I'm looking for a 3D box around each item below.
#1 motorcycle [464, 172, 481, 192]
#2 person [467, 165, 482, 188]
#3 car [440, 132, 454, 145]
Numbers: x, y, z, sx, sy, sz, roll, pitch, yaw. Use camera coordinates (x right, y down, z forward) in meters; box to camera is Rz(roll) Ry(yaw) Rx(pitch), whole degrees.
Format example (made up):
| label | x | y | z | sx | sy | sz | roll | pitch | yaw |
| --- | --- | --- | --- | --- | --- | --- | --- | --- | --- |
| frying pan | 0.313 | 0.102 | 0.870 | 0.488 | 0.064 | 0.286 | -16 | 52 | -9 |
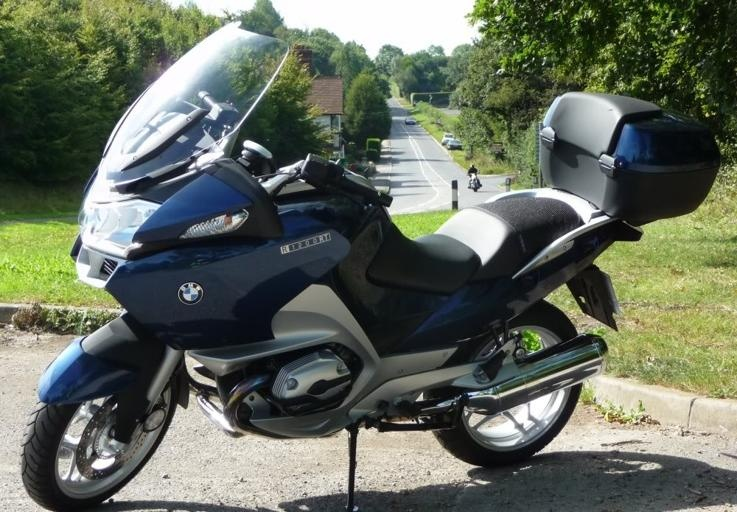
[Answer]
| label | x | y | z | sx | sy | sz | roll | pitch | yaw |
| --- | --- | --- | --- | --- | --- | --- | --- | --- | --- |
| motorcycle | 5.454 | -3.829 | 37.631 | 0.621 | 0.688 | 1.260 | -1 | 5 | 3 |
| person | 5.423 | -4.148 | 37.850 | 0.753 | 0.960 | 1.756 | -2 | 17 | 7 |
| car | 8.721 | -12.974 | 79.931 | 1.148 | 0.938 | 1.950 | -3 | 4 | -4 |
